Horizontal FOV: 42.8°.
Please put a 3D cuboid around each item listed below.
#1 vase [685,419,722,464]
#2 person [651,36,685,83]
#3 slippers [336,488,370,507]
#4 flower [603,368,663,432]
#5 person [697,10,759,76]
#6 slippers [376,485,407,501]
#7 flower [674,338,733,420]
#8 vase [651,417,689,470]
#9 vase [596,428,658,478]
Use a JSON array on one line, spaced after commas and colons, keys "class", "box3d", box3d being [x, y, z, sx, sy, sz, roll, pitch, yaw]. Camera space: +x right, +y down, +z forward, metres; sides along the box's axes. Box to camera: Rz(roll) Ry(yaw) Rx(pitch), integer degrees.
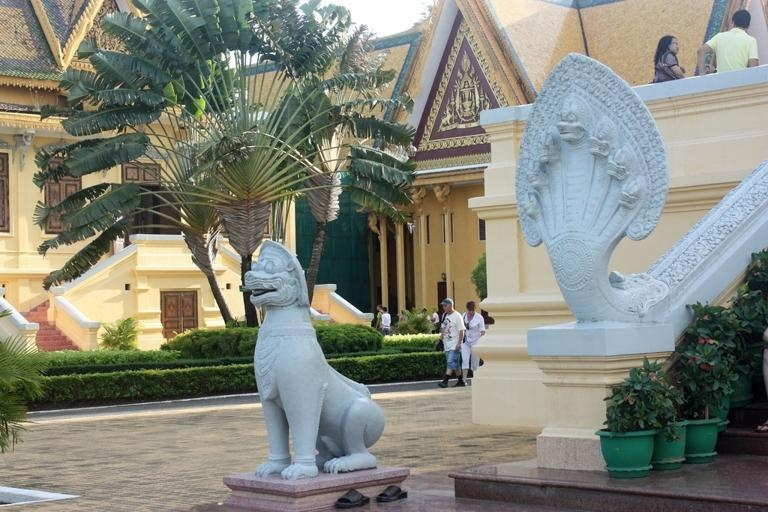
[{"class": "vase", "box3d": [3.300, 1.903, 10.085, 0.413, 0.316, 0.409, 1, -6, -11]}, {"class": "person", "box3d": [4.256, -2.984, 14.657, 0.408, 1.011, 1.224, -3, -5, 17]}, {"class": "slippers", "box3d": [-0.309, 2.420, 9.749, 0.138, 0.105, 0.269, -8, -14, 39]}, {"class": "flower", "box3d": [2.585, 1.400, 9.779, 0.657, 0.631, 0.472, -3, -2, 13]}, {"class": "person", "box3d": [5.149, -3.218, 14.672, 0.898, 0.993, 0.609, -4, -5, 32]}, {"class": "slippers", "box3d": [0.091, 2.405, 9.936, 0.265, 0.104, 0.137, 8, -13, -37]}, {"class": "flower", "box3d": [3.465, 1.315, 10.584, 0.765, 0.926, 0.725, -7, -9, 33]}, {"class": "vase", "box3d": [2.874, 1.902, 9.969, 0.439, 0.371, 0.426, 2, -2, -38]}, {"class": "vase", "box3d": [2.409, 1.953, 9.772, 0.479, 0.336, 0.479, 0, -9, -3]}]
